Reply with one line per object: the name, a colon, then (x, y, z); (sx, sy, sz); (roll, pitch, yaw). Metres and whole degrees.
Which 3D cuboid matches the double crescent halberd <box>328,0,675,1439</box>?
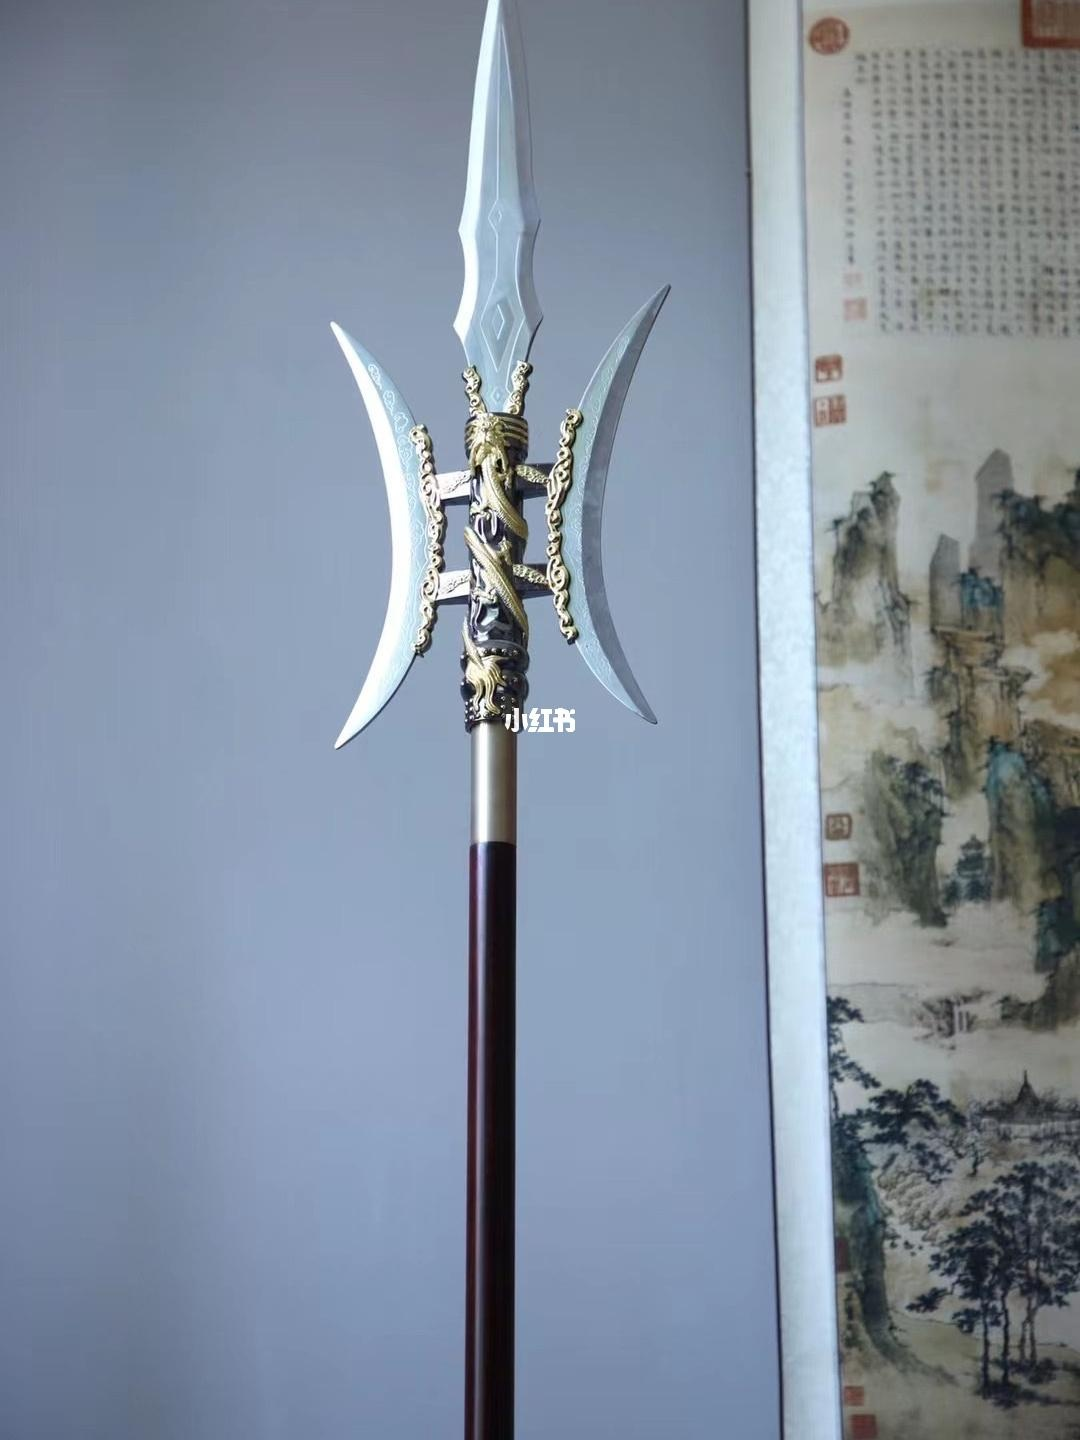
double crescent halberd: (-0.041, -0.018, 2.702); (0.299, 1.220, 0.198); (0, -4, 3)
